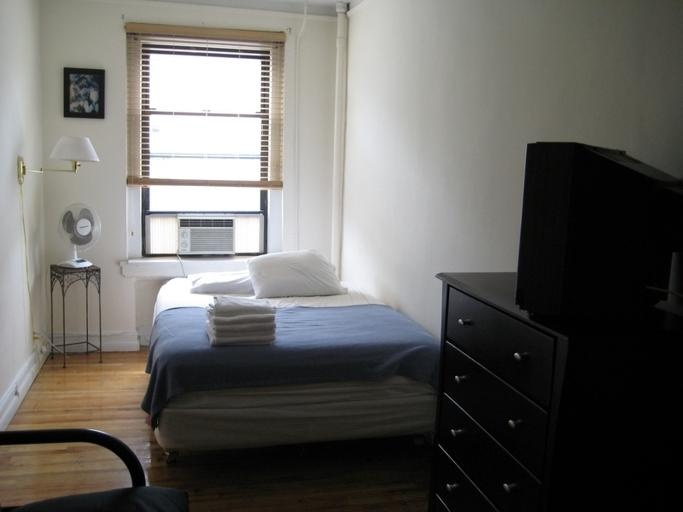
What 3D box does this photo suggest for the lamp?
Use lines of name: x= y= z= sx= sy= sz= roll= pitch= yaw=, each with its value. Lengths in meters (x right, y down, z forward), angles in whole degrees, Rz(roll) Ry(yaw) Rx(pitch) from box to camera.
lamp: x=-2.108 y=-0.699 z=4.253 sx=0.541 sy=0.386 sz=0.330 roll=1 pitch=9 yaw=-19

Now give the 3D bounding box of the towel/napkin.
towel/napkin: x=-0.529 y=0.354 z=3.054 sx=0.261 sy=0.133 sz=0.282 roll=0 pitch=5 yaw=-6

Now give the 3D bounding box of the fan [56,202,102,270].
fan: x=-2.074 y=-0.173 z=4.468 sx=0.303 sy=0.515 sz=0.304 roll=-5 pitch=14 yaw=-37

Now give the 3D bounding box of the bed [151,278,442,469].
bed: x=-0.320 y=0.672 z=3.450 sx=1.556 sy=0.596 sz=1.153 roll=0 pitch=9 yaw=-11

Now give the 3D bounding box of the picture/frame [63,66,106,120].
picture/frame: x=-2.060 y=-1.307 z=4.512 sx=0.403 sy=0.552 sz=0.040 roll=1 pitch=5 yaw=-25
